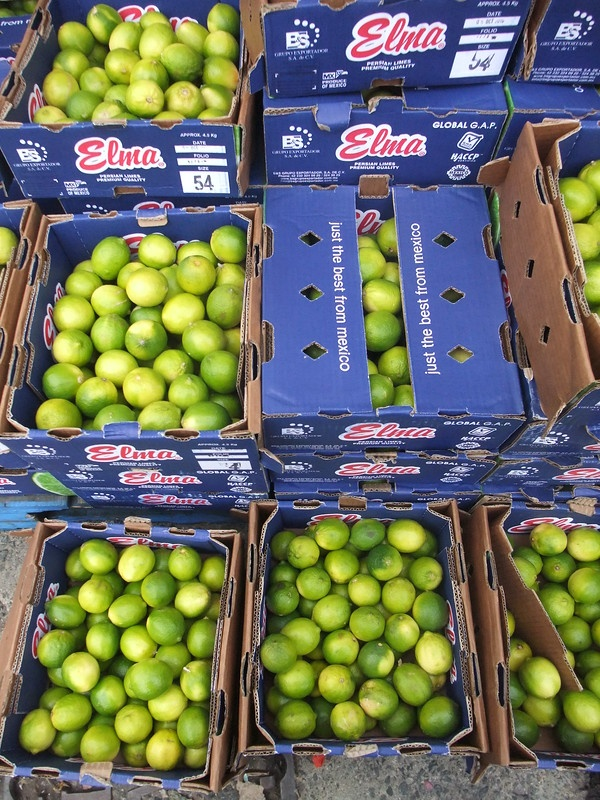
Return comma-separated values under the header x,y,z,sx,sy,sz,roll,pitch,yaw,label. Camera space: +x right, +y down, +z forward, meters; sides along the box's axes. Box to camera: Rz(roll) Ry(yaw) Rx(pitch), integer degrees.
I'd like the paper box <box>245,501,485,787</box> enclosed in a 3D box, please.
x,y,z,sx,sy,sz,roll,pitch,yaw,label
0.336,0.977,3.154,1.278,0.437,1.181,-1,73,-1,paper box

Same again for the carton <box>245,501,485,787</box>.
x,y,z,sx,sy,sz,roll,pitch,yaw,label
0.410,0.984,3.167,1.278,0.437,1.181,-1,73,-1,carton

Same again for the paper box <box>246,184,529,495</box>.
x,y,z,sx,sy,sz,roll,pitch,yaw,label
0.374,-0.291,3.362,1.363,0.858,1.264,-1,75,-1,paper box

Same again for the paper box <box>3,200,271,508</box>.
x,y,z,sx,sy,sz,roll,pitch,yaw,label
-0.742,-0.197,3.442,1.468,0.934,1.353,1,80,0,paper box

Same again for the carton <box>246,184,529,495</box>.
x,y,z,sx,sy,sz,roll,pitch,yaw,label
0.351,-0.232,3.359,1.363,0.858,1.264,-1,75,-1,carton

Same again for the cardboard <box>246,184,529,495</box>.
x,y,z,sx,sy,sz,roll,pitch,yaw,label
0.357,-0.240,3.458,1.363,0.858,1.264,-1,75,-1,cardboard

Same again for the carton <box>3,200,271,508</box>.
x,y,z,sx,sy,sz,roll,pitch,yaw,label
-0.735,-0.178,3.437,1.468,0.934,1.353,1,80,0,carton

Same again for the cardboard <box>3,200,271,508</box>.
x,y,z,sx,sy,sz,roll,pitch,yaw,label
-0.745,-0.184,3.430,1.468,0.934,1.353,1,80,0,cardboard

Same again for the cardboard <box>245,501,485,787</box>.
x,y,z,sx,sy,sz,roll,pitch,yaw,label
0.418,0.957,3.159,1.278,0.437,1.181,-1,73,-1,cardboard
